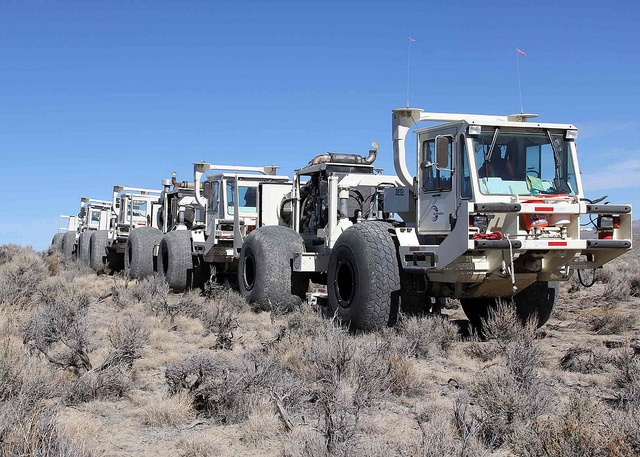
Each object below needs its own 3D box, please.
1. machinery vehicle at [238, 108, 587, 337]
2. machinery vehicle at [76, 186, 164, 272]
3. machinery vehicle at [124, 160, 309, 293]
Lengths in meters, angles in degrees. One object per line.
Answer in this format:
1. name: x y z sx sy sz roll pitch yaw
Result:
1. machinery vehicle: 1.547 -0.192 12.104 3.342 3.502 6.370 3 1 -27
2. machinery vehicle: -7.949 -0.127 26.952 5.827 3.612 3.200 -7 -1 29
3. machinery vehicle: -3.458 -0.623 20.200 3.369 3.507 6.308 25 -12 -22
